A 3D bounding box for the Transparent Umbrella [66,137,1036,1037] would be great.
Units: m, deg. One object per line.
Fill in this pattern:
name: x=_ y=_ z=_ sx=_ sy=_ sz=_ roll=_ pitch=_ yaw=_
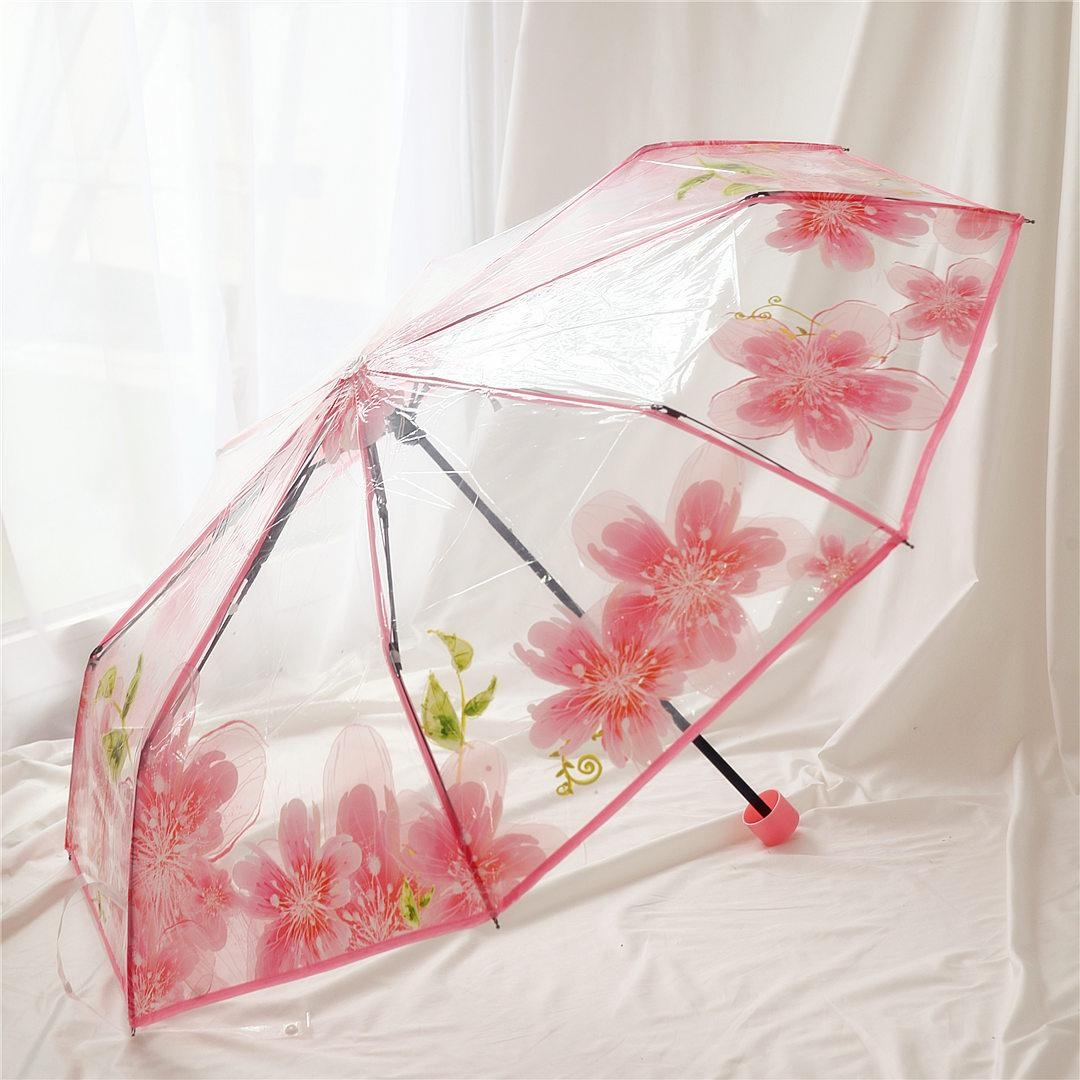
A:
Transparent Umbrella: x=-0.020 y=0.029 z=1.625 sx=1.175 sy=1.091 sz=0.716 roll=-11 pitch=-42 yaw=24
